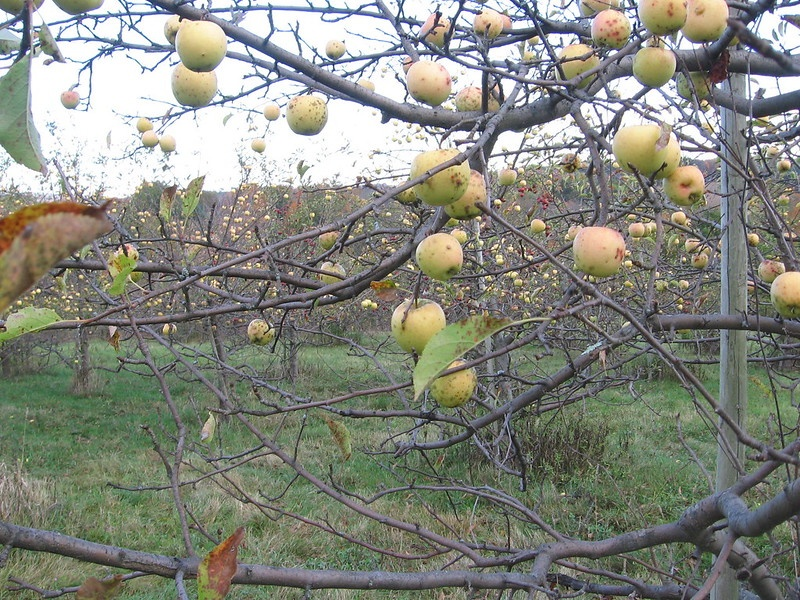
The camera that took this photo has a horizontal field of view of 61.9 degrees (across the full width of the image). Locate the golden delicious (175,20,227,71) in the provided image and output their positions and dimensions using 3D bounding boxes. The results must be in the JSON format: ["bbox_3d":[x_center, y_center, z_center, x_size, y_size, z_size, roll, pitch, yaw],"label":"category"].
[{"bbox_3d":[-0.756,-0.960,2.533,0.173,0.207,0.178,-3,11,-22],"label":"golden delicious"}]

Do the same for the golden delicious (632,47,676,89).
[{"bbox_3d":[0.974,-0.892,2.552,0.146,0.167,0.154,1,20,-14],"label":"golden delicious"}]
